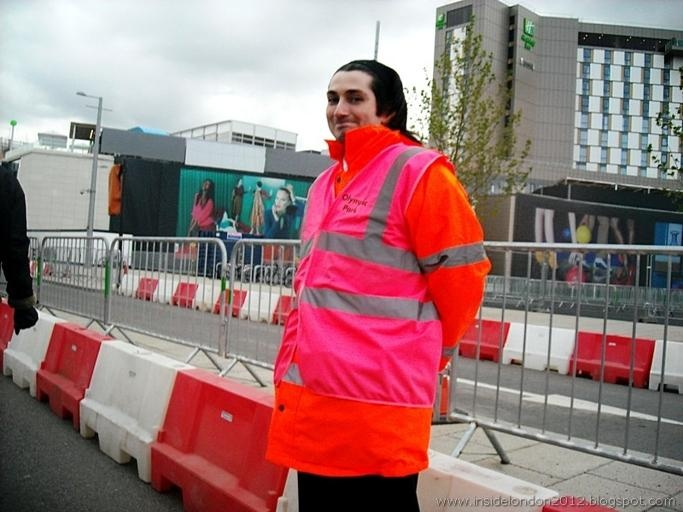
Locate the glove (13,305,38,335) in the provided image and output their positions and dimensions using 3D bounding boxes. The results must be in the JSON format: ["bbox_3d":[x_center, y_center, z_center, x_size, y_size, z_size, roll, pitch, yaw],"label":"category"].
[{"bbox_3d":[-2.672,0.574,4.921,0.192,0.266,0.248,11,-18,-42],"label":"glove"}]

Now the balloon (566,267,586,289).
[{"bbox_3d":[1.969,0.186,4.879,0.082,0.187,0.244,1,2,-11],"label":"balloon"}]
